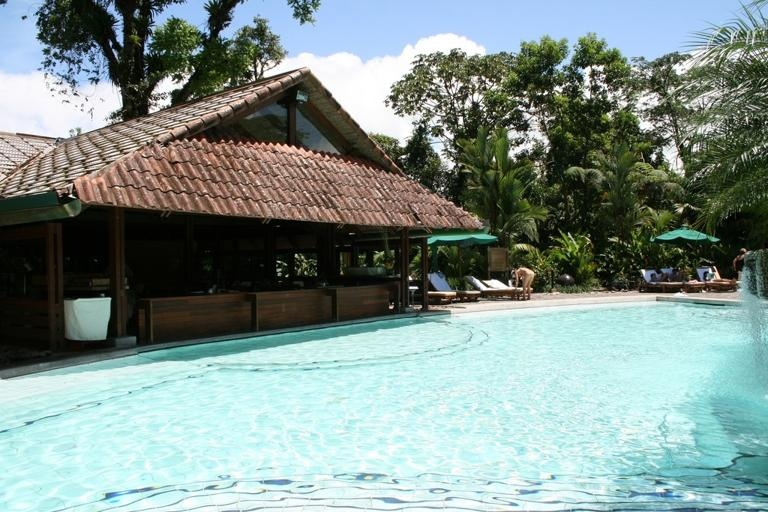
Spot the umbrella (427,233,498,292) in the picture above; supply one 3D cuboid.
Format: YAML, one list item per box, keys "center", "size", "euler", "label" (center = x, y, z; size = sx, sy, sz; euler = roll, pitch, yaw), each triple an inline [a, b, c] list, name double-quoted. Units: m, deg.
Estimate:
- center: [3.100, -0.092, 24.584]
  size: [2.433, 2.304, 3.777]
  euler: [1, 10, 4]
  label: "umbrella"

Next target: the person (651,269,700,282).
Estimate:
- center: [13.938, 1.023, 28.635]
  size: [1.189, 0.433, 1.482]
  euler: [1, -3, -7]
  label: "person"

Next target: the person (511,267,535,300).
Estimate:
- center: [5.955, 1.120, 25.094]
  size: [0.512, 1.313, 1.781]
  euler: [6, 1, 39]
  label: "person"
